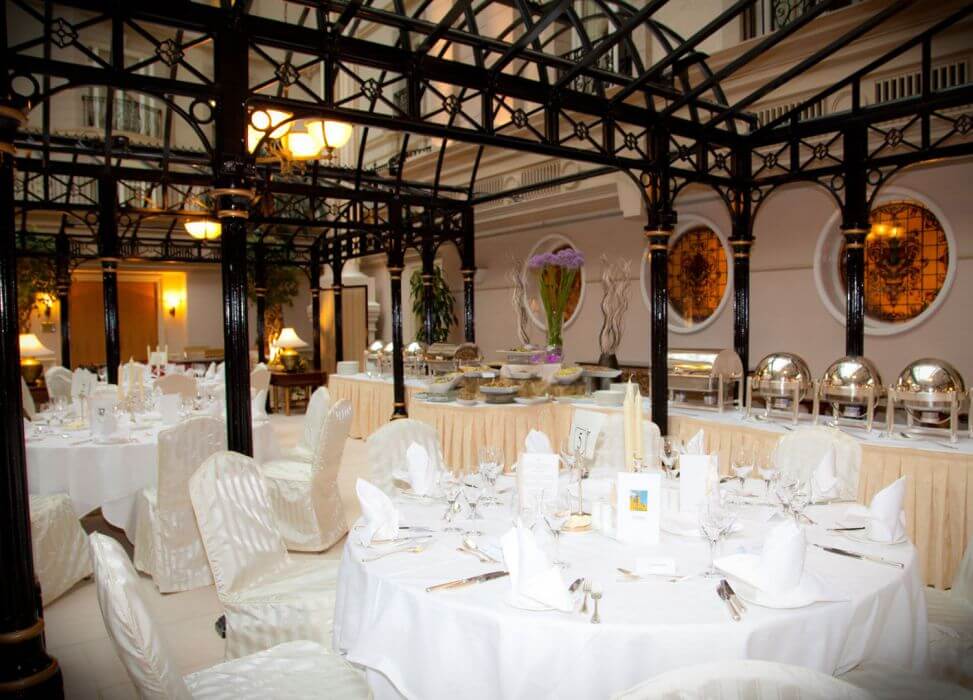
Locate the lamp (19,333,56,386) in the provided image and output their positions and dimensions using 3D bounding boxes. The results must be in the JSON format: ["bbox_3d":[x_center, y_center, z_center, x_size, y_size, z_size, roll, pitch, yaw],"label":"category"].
[{"bbox_3d":[-7.709,0.128,12.277,0.596,0.838,0.672,-8,0,2],"label":"lamp"}]

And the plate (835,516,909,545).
[{"bbox_3d":[1.959,0.936,3.790,0.194,0.077,0.206,-6,-3,-27],"label":"plate"}]

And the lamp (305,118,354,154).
[{"bbox_3d":[-1.394,-1.950,6.395,0.364,0.252,0.655,-1,-1,-20],"label":"lamp"}]

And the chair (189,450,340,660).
[{"bbox_3d":[-1.157,1.273,4.255,0.871,1.371,0.883,-3,4,4],"label":"chair"}]

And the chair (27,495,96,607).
[{"bbox_3d":[-3.084,1.473,5.381,0.399,0.595,0.408,-12,-8,6],"label":"chair"}]

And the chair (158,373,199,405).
[{"bbox_3d":[-3.296,0.413,7.774,0.182,0.292,0.225,2,42,-13],"label":"chair"}]

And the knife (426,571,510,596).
[{"bbox_3d":[-0.095,1.094,3.365,0.357,0.037,0.078,-4,15,-24],"label":"knife"}]

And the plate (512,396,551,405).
[{"bbox_3d":[0.435,0.515,7.512,0.352,0.092,0.173,-1,-1,3],"label":"plate"}]

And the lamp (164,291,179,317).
[{"bbox_3d":[-7.363,-1.132,17.104,0.248,0.612,0.060,-1,1,-34],"label":"lamp"}]

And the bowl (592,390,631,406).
[{"bbox_3d":[1.169,0.456,7.083,0.250,0.124,0.277,-4,2,-10],"label":"bowl"}]

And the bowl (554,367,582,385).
[{"bbox_3d":[0.834,0.273,7.738,0.293,0.184,0.198,-1,0,-10],"label":"bowl"}]

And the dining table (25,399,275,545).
[{"bbox_3d":[-3.125,0.931,6.374,1.608,0.488,1.750,-9,4,23],"label":"dining table"}]

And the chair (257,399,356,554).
[{"bbox_3d":[-1.595,1.045,6.245,0.705,1.250,0.714,4,4,15],"label":"chair"}]

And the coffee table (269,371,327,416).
[{"bbox_3d":[-3.542,0.861,13.675,0.979,1.062,0.796,2,4,-22],"label":"coffee table"}]

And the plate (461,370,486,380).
[{"bbox_3d":[-0.183,0.268,8.009,0.261,0.099,0.143,-1,0,-3],"label":"plate"}]

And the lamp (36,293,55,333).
[{"bbox_3d":[-9.116,-0.809,15.110,0.342,0.778,0.742,-1,0,-32],"label":"lamp"}]

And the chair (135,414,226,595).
[{"bbox_3d":[-2.368,1.069,5.630,0.766,1.336,0.839,-2,11,-16],"label":"chair"}]

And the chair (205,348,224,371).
[{"bbox_3d":[-5.505,0.178,14.688,0.324,0.287,0.523,-1,6,-13],"label":"chair"}]

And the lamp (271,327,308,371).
[{"bbox_3d":[-3.710,-0.010,13.629,0.645,0.895,0.720,-9,-8,13],"label":"lamp"}]

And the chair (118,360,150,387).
[{"bbox_3d":[-4.049,0.272,8.375,0.259,0.369,0.324,5,9,6],"label":"chair"}]

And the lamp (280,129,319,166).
[{"bbox_3d":[-1.699,-1.882,6.566,0.280,0.239,0.313,-1,6,2],"label":"lamp"}]

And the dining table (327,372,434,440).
[{"bbox_3d":[-1.823,0.846,10.636,1.427,0.827,0.512,9,-7,-41],"label":"dining table"}]

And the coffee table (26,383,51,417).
[{"bbox_3d":[-6.015,0.657,9.791,0.193,0.397,0.378,-6,-5,30],"label":"coffee table"}]

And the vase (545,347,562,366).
[{"bbox_3d":[0.734,0.060,8.247,0.167,0.233,0.178,-3,6,-24],"label":"vase"}]

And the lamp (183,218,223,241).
[{"bbox_3d":[-3.949,-1.735,10.130,0.386,0.274,0.550,-1,-1,-13],"label":"lamp"}]

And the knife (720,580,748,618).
[{"bbox_3d":[1.065,1.115,3.208,0.040,0.039,0.151,-3,22,-1],"label":"knife"}]

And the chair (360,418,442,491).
[{"bbox_3d":[-0.561,0.672,4.890,0.420,0.666,0.494,0,-2,-20],"label":"chair"}]

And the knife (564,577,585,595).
[{"bbox_3d":[0.387,1.068,3.277,0.039,0.035,0.088,1,16,25],"label":"knife"}]

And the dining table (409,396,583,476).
[{"bbox_3d":[-0.340,0.888,7.794,1.607,0.659,0.709,8,1,-29],"label":"dining table"}]
